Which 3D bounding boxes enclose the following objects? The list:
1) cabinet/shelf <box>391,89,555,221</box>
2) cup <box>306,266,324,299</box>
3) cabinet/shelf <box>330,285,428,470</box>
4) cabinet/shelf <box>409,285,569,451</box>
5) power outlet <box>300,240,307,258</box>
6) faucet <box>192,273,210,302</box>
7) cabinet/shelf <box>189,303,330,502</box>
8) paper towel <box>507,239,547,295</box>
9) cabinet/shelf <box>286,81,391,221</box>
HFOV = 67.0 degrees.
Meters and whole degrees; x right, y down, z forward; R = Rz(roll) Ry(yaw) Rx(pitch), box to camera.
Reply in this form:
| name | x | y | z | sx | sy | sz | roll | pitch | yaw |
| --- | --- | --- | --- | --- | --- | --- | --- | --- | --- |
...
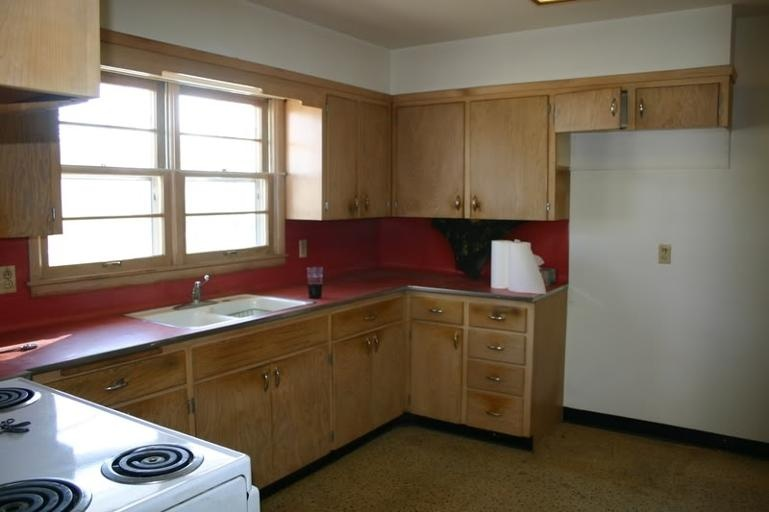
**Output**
| name | x | y | z | sx | sy | sz | roll | pitch | yaw |
| --- | --- | --- | --- | --- | --- | --- | --- | --- | --- |
| cabinet/shelf | 0.741 | -0.800 | 4.754 | 1.319 | 0.961 | 0.469 | 4 | 9 | 31 |
| cup | -0.465 | 0.181 | 3.918 | 0.097 | 0.205 | 0.084 | -5 | 12 | -21 |
| cabinet/shelf | 0.086 | 0.894 | 4.353 | 0.590 | 1.042 | 0.785 | 23 | -36 | -38 |
| cabinet/shelf | 0.791 | 0.780 | 4.570 | 1.065 | 1.014 | 0.656 | 2 | 1 | 39 |
| power outlet | -0.649 | -0.061 | 4.588 | 0.021 | 0.151 | 0.136 | 3 | 4 | 25 |
| faucet | -1.212 | 0.201 | 3.813 | 0.124 | 0.179 | 0.270 | -4 | 13 | -18 |
| cabinet/shelf | -0.807 | 0.899 | 3.665 | 0.442 | 0.999 | 1.104 | -3 | 1 | 39 |
| paper towel | 1.013 | 0.096 | 4.203 | 0.388 | 0.374 | 0.255 | 3 | 3 | 25 |
| cabinet/shelf | -0.384 | -0.807 | 4.412 | 0.458 | 1.022 | 1.111 | 4 | 6 | 39 |
